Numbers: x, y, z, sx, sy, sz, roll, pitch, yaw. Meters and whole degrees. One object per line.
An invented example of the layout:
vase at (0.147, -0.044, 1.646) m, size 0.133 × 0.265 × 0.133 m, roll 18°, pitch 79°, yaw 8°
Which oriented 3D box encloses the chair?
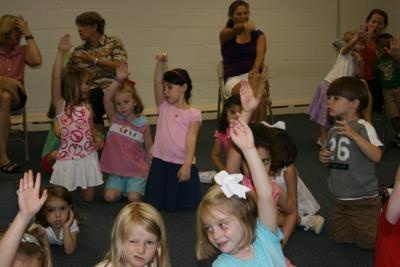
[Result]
chair at (0.786, -0.799, 5.648) m, size 0.850 × 1.350 × 0.942 m, roll -2°, pitch 7°, yaw -9°

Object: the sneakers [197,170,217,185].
sneakers at (0.081, 0.500, 3.695) m, size 0.197 × 0.151 × 0.508 m, roll 1°, pitch 9°, yaw 0°

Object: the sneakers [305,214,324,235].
sneakers at (1.002, 0.770, 2.719) m, size 0.186 × 0.130 × 0.124 m, roll -3°, pitch 10°, yaw -21°
